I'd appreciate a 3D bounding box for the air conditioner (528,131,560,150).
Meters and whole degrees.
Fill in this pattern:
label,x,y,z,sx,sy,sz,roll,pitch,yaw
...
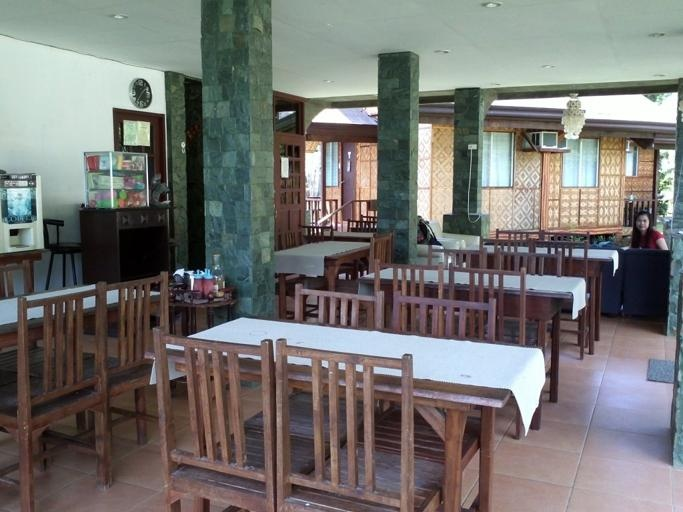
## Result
label,x,y,z,sx,sy,sz,roll,pitch,yaw
air conditioner,5.253,-3.019,14.672,0.526,0.450,0.562,1,6,1

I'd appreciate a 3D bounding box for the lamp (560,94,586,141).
label,x,y,z,sx,sy,sz,roll,pitch,yaw
lamp,3.754,-2.274,9.177,0.315,0.698,0.707,4,12,22

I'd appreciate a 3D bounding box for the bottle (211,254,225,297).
label,x,y,z,sx,sy,sz,roll,pitch,yaw
bottle,-1.037,0.168,4.757,0.115,0.394,0.121,-1,3,0

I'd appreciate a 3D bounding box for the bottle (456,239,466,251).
label,x,y,z,sx,sy,sz,roll,pitch,yaw
bottle,1.709,-0.162,8.113,0.218,0.121,0.315,-1,4,12

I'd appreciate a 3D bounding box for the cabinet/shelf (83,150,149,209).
label,x,y,z,sx,sy,sz,roll,pitch,yaw
cabinet/shelf,-2.838,-0.959,7.182,0.409,0.662,0.595,3,7,25

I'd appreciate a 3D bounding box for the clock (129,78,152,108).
label,x,y,z,sx,sy,sz,roll,pitch,yaw
clock,-2.800,-2.266,7.874,0.068,0.449,0.429,-2,5,20
